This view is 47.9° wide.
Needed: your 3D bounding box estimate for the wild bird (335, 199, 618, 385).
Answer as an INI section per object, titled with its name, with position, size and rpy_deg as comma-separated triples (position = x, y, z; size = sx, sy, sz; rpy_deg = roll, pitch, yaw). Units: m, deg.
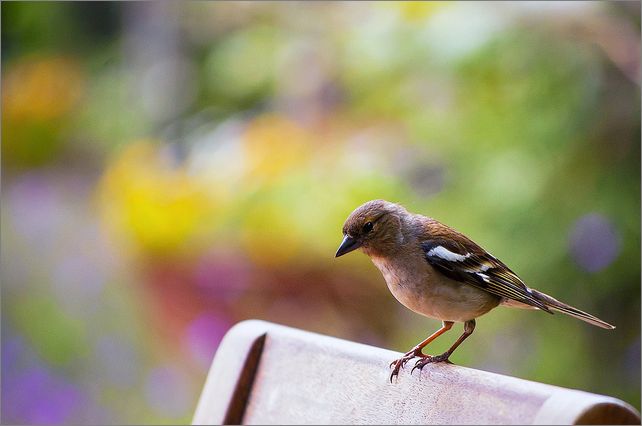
[wild bird]
position = 0.841, 0.317, 3.858
size = 1.727, 1.083, 0.593
rpy_deg = 0, -4, 2
